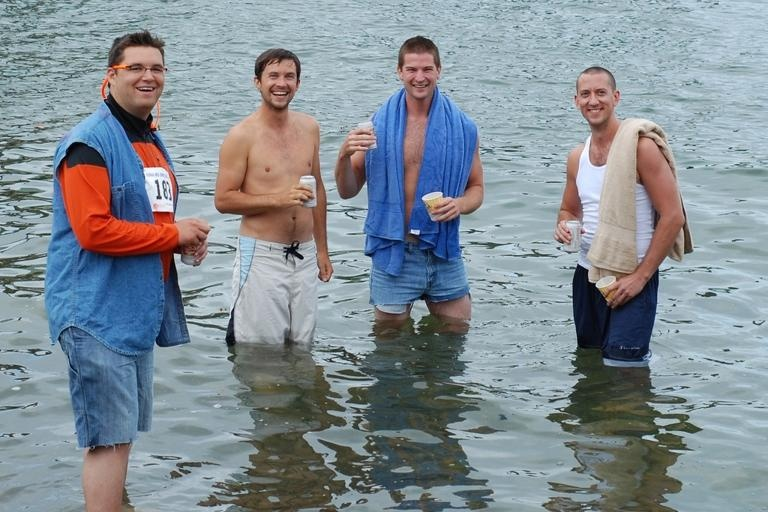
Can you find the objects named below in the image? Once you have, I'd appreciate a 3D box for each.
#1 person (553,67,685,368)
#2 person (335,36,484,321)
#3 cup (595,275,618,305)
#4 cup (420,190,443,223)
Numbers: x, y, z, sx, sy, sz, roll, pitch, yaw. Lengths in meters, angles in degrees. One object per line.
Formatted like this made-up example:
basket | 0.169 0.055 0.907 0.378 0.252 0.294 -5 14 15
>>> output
person | 2.326 -0.370 10.928 0.704 3.068 1.226 -14 18 -43
person | 0.283 -0.773 11.522 1.511 3.083 0.750 -1 13 2
cup | 2.229 0.331 10.841 0.201 0.268 0.122 1 12 8
cup | 0.505 -0.515 11.196 0.216 0.296 0.188 -1 12 0
